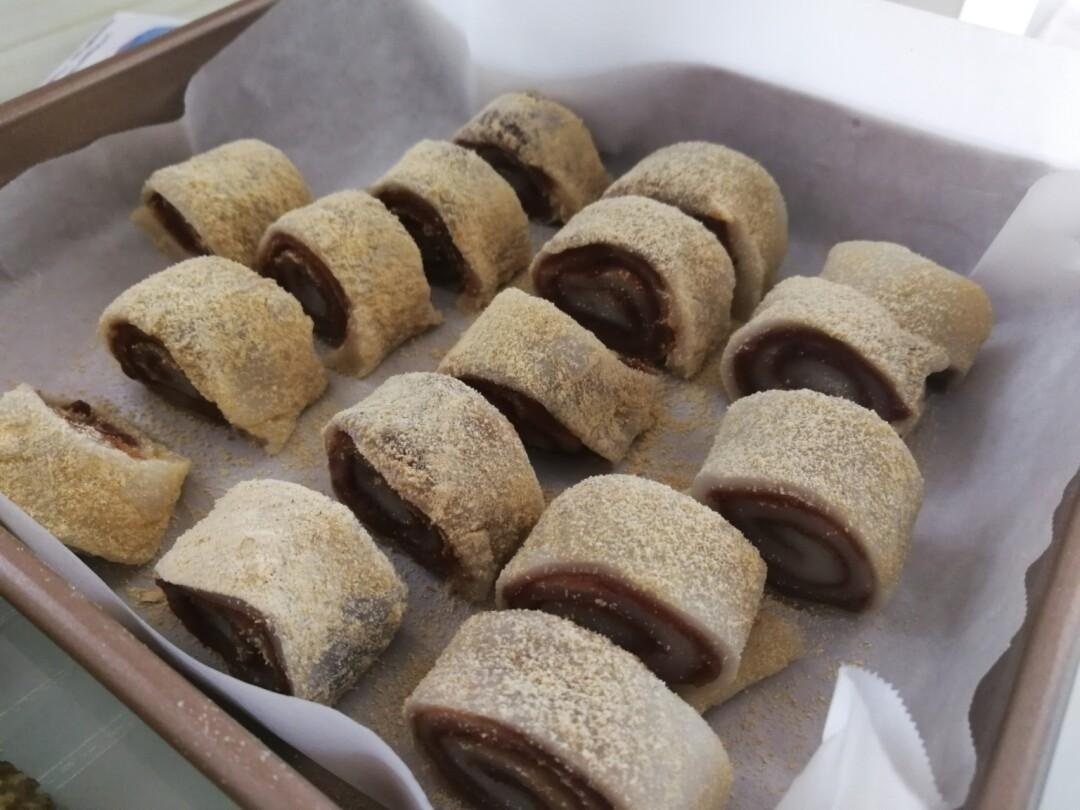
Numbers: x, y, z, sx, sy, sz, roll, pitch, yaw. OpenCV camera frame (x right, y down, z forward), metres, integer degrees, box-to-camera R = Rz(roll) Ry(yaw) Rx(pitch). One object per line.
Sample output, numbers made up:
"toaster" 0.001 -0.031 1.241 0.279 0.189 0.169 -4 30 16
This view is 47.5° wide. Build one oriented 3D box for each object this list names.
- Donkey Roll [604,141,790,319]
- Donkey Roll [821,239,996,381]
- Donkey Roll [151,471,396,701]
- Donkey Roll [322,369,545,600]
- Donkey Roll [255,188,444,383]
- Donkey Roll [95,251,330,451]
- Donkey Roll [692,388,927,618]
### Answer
"Donkey Roll" 0.325 -0.343 2.326 0.317 0.352 0.278 15 49 45
"Donkey Roll" 0.610 -0.196 2.055 0.263 0.091 0.194 43 51 14
"Donkey Roll" -0.389 0.259 1.840 0.331 0.191 0.291 18 40 15
"Donkey Roll" -0.181 0.091 1.972 0.349 0.284 0.209 33 55 25
"Donkey Roll" -0.360 -0.242 2.188 0.267 0.287 0.248 15 37 24
"Donkey Roll" -0.561 -0.106 2.095 0.361 0.229 0.281 17 39 25
"Donkey Roll" 0.429 0.151 1.935 0.320 0.267 0.229 14 47 27
